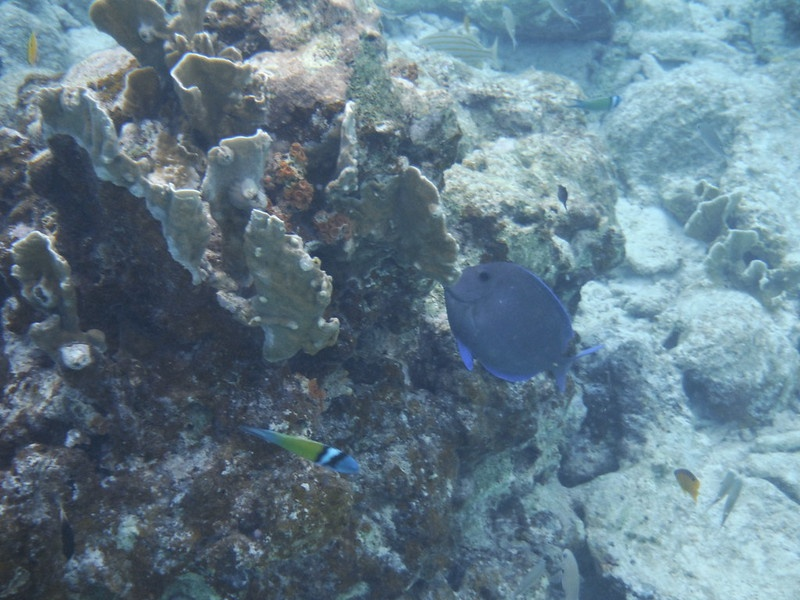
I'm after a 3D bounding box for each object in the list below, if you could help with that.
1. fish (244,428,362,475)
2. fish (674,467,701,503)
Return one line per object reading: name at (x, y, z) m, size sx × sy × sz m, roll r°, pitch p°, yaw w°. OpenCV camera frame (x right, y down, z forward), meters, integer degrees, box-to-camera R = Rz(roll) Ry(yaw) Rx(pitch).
fish at (-1.109, 1.629, 9.863) m, size 1.107 × 0.491 × 0.209 m, roll 21°, pitch -7°, yaw -2°
fish at (3.551, 2.307, 11.358) m, size 0.124 × 0.499 × 0.280 m, roll -16°, pitch 20°, yaw 30°
